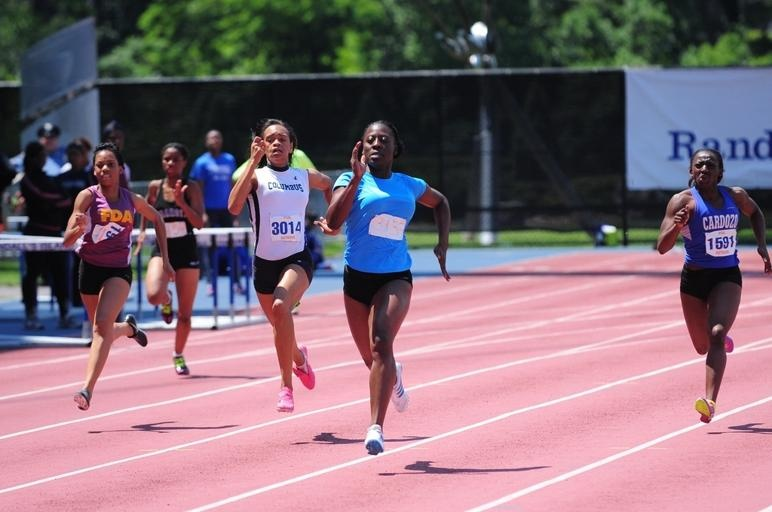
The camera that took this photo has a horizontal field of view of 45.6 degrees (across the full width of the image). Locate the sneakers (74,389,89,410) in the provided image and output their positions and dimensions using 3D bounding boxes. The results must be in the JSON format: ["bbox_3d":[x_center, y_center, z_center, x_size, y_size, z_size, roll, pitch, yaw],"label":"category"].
[{"bbox_3d":[-2.615,1.252,7.859,0.117,0.282,0.129,-1,52,-6],"label":"sneakers"}]

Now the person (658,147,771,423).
[{"bbox_3d":[2.829,0.234,7.994,0.882,2.318,1.455,1,7,24],"label":"person"}]

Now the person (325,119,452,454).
[{"bbox_3d":[-0.022,0.230,7.296,0.900,2.615,1.418,-1,6,11],"label":"person"}]

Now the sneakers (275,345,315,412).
[{"bbox_3d":[-0.806,1.151,8.152,0.205,0.236,0.609,-27,28,21],"label":"sneakers"}]

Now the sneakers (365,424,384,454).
[{"bbox_3d":[-0.093,1.357,6.770,0.117,0.207,0.188,-1,6,4],"label":"sneakers"}]

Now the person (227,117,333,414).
[{"bbox_3d":[-0.930,0.069,8.051,0.700,2.548,1.014,0,6,15],"label":"person"}]

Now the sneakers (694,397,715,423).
[{"bbox_3d":[2.616,1.285,7.547,0.124,0.279,0.122,17,40,40],"label":"sneakers"}]

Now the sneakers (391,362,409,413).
[{"bbox_3d":[0.105,1.099,7.523,0.157,0.448,0.205,-5,16,5],"label":"sneakers"}]

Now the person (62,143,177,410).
[{"bbox_3d":[-2.596,0.229,8.329,0.767,2.478,1.408,-1,6,13],"label":"person"}]
